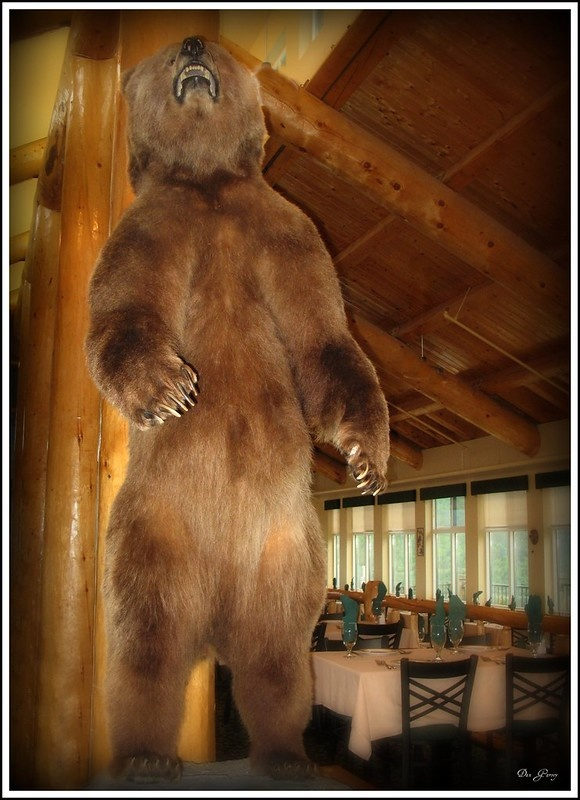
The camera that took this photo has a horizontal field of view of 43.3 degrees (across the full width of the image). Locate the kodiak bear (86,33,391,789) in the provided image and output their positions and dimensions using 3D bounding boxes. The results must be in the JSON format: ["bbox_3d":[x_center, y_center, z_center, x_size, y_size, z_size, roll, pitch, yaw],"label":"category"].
[{"bbox_3d":[-0.073,-0.001,0.911,0.360,0.915,0.171,7,-10,-28],"label":"kodiak bear"}]
